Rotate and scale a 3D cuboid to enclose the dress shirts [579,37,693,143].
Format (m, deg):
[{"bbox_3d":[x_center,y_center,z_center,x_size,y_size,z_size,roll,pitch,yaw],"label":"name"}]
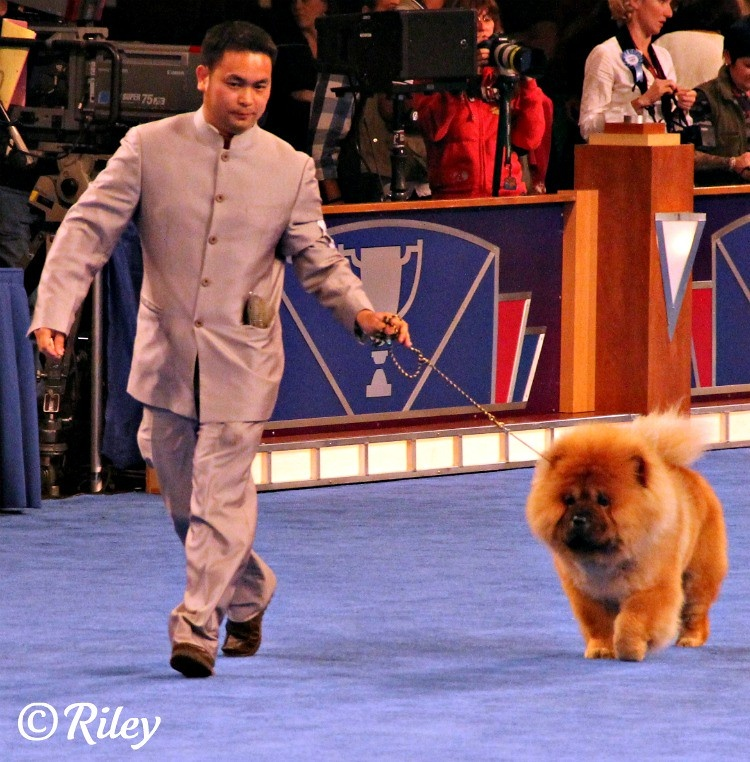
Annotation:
[{"bbox_3d":[1.169,-1.300,9.803,0.521,0.557,0.294,-14,16,-32],"label":"dress shirts"}]

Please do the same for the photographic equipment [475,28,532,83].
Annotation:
[{"bbox_3d":[0.570,-1.393,9.253,0.190,0.114,0.214,-6,20,-26],"label":"photographic equipment"}]

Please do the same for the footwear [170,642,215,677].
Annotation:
[{"bbox_3d":[-0.501,0.788,5.975,0.042,0.077,0.130,20,-20,26],"label":"footwear"}]

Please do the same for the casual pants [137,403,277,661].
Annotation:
[{"bbox_3d":[-0.451,0.418,6.119,0.386,0.672,0.426,-2,8,-13],"label":"casual pants"}]

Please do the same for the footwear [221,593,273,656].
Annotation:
[{"bbox_3d":[-0.387,0.730,6.385,0.072,0.088,0.200,-1,23,10],"label":"footwear"}]

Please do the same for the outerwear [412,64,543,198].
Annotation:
[{"bbox_3d":[0.473,-1.159,9.653,0.552,0.773,0.432,8,-28,-9],"label":"outerwear"}]

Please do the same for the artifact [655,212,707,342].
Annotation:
[{"bbox_3d":[1.365,-0.470,9.762,0.271,0.571,0.067,-7,10,-41],"label":"artifact"}]

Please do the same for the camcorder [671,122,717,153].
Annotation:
[{"bbox_3d":[1.500,-1.161,10.150,0.155,0.097,0.214,21,-3,6],"label":"camcorder"}]

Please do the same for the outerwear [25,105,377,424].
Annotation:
[{"bbox_3d":[-0.623,-0.352,7.153,1.110,1.087,0.413,4,3,-19],"label":"outerwear"}]

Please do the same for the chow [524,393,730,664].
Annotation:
[{"bbox_3d":[0.777,0.472,6.430,0.388,0.745,0.750,2,3,34],"label":"chow"}]
